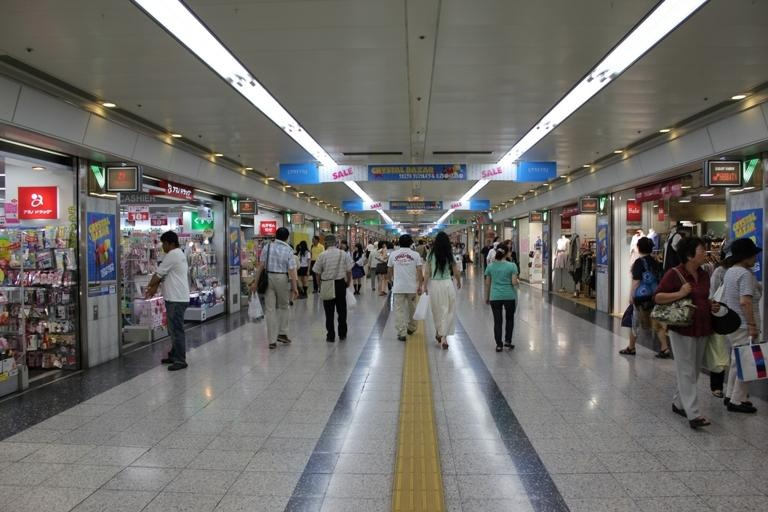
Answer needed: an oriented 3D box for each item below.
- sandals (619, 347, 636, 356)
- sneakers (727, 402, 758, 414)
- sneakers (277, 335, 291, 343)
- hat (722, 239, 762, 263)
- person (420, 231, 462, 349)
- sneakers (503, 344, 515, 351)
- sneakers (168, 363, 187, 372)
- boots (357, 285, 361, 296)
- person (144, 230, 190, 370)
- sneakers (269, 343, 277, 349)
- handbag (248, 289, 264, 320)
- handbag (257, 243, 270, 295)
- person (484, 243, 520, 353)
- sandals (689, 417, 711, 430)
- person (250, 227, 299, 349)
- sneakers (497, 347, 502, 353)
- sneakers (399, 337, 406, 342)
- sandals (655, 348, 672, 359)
[{"bbox_3d":[3.922,1.550,8.056,0.235,0.108,0.123,4,1,20],"label":"sandals"},{"bbox_3d":[4.164,1.772,5.836,0.335,0.141,0.123,-1,-3,10],"label":"sneakers"},{"bbox_3d":[-1.766,1.499,8.882,0.290,0.124,0.109,17,-5,-37],"label":"sneakers"},{"bbox_3d":[4.244,-0.028,5.918,0.268,0.358,0.285,3,9,22],"label":"hat"},{"bbox_3d":[0.985,0.587,8.594,0.624,1.989,0.930,0,8,4],"label":"person"},{"bbox_3d":[2.102,1.539,8.376,0.148,0.105,0.081,-19,14,16],"label":"sneakers"},{"bbox_3d":[-3.107,1.653,7.482,0.292,0.090,0.194,-1,8,-2],"label":"sneakers"},{"bbox_3d":[-0.845,1.210,16.525,0.090,0.202,0.220,3,22,4],"label":"boots"},{"bbox_3d":[-3.237,0.674,7.533,0.566,2.048,0.621,-4,9,-23],"label":"person"},{"bbox_3d":[-1.908,1.550,8.594,0.134,0.083,0.151,-3,9,-16],"label":"sneakers"},{"bbox_3d":[-2.224,0.891,8.655,0.191,0.554,0.307,-1,8,-6],"label":"handbag"},{"bbox_3d":[-2.078,0.247,8.585,0.246,0.888,0.357,-3,8,-16],"label":"handbag"},{"bbox_3d":[1.946,0.683,8.297,0.485,1.767,0.542,1,8,13],"label":"person"},{"bbox_3d":[3.404,1.816,5.400,0.119,0.076,0.212,-4,-11,-15],"label":"sandals"},{"bbox_3d":[-1.897,0.546,8.783,0.735,2.039,0.644,5,-7,-21],"label":"person"},{"bbox_3d":[1.901,1.529,8.210,0.103,0.081,0.176,1,9,10],"label":"sneakers"},{"bbox_3d":[0.324,1.486,8.943,0.147,0.077,0.134,1,8,7],"label":"sneakers"},{"bbox_3d":[4.440,1.555,7.892,0.281,0.114,0.144,-4,0,-2],"label":"sandals"}]
